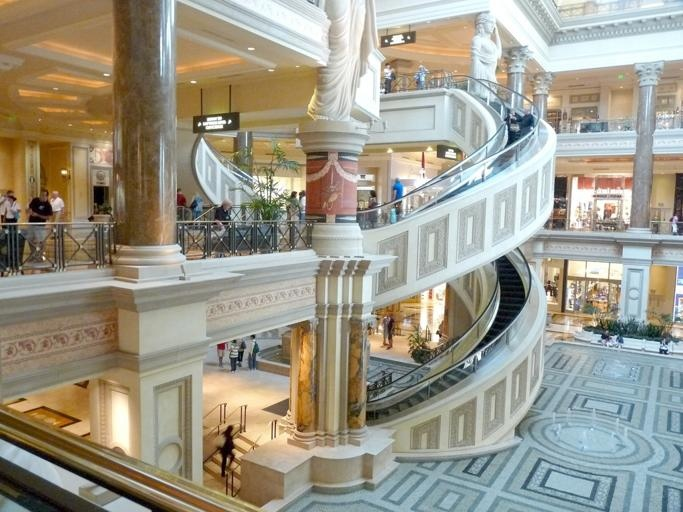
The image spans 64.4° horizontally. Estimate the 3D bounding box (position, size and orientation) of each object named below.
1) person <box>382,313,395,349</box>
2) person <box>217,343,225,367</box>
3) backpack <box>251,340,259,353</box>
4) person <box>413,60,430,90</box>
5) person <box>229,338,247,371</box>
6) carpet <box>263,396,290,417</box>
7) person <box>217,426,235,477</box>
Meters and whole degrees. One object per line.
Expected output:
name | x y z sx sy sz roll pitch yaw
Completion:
person | 1.345 2.220 15.764 0.291 0.822 0.704 2 6 4
person | -3.260 2.656 14.687 0.177 0.524 0.792 0 6 -12
backpack | -2.318 2.473 14.468 0.150 0.430 0.571 1 6 -6
person | 2.175 -4.884 14.988 0.357 0.779 1.020 2 6 8
person | -2.733 2.567 14.243 0.393 0.759 1.063 0 6 -10
carpet | -1.363 3.168 11.322 0.495 0.045 0.801 2 6 9
person | -1.963 3.385 9.414 0.199 0.830 0.290 -9 -21 30
